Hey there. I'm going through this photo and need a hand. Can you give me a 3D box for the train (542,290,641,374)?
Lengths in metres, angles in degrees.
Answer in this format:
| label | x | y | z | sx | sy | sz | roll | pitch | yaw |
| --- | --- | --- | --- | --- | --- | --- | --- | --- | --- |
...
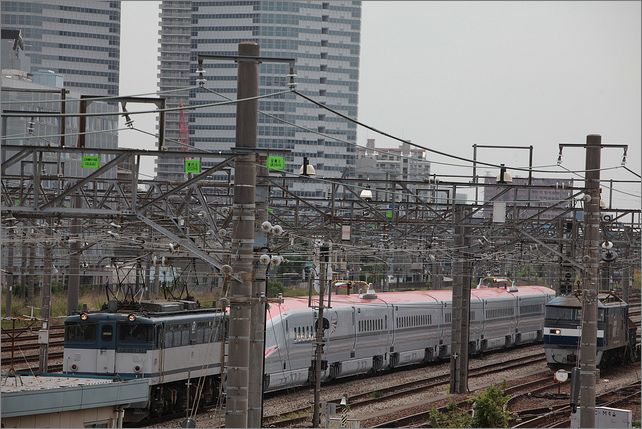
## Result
| label | x | y | z | sx | sy | sz | roll | pitch | yaw |
| --- | --- | --- | --- | --- | --- | --- | --- | --- | --- |
| train | 16.324 | 6.999 | 71.854 | 3.115 | 4.789 | 9.073 | -4 | -7 | 32 |
